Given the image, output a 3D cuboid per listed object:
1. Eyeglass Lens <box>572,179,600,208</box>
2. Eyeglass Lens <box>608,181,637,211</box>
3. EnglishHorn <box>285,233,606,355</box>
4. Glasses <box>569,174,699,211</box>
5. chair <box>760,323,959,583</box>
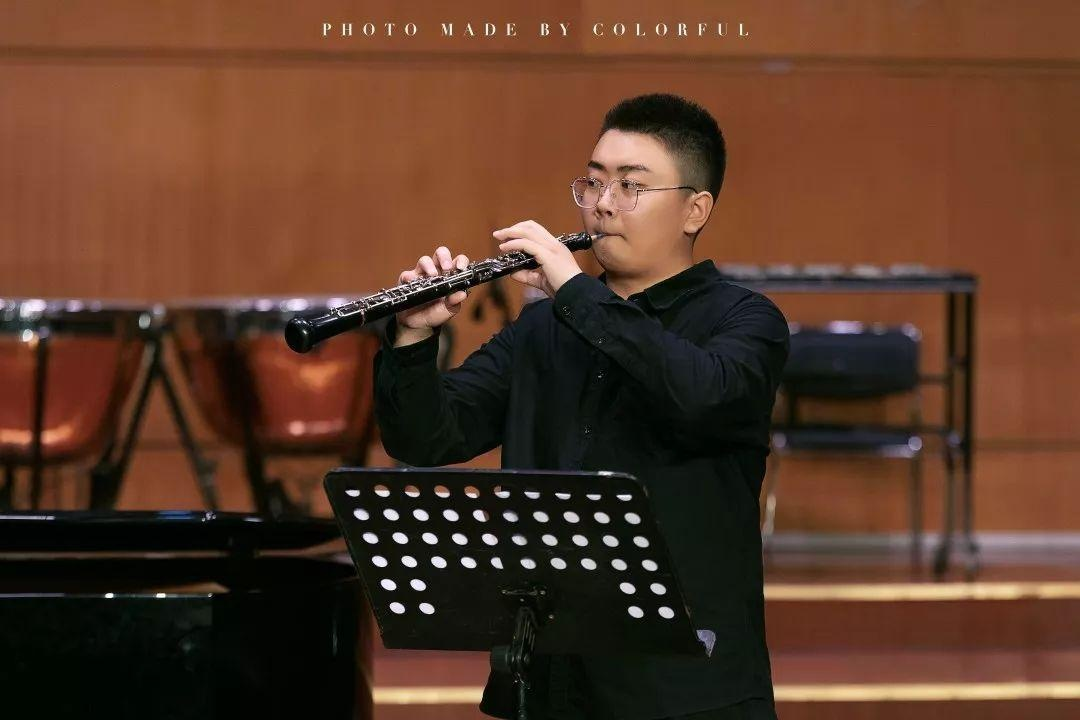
[{"bbox_3d":[0.139,-0.500,4.297,0.081,0.089,0.037,5,26,32],"label":"Eyeglass Lens"},{"bbox_3d":[0.252,-0.484,4.252,0.081,0.086,0.033,4,5,25],"label":"Eyeglass Lens"},{"bbox_3d":[-0.387,-0.253,5.103,1.145,0.170,0.193,-22,-2,-36],"label":"EnglishHorn"},{"bbox_3d":[0.255,-0.488,4.305,0.180,0.057,0.183,0,-2,44],"label":"Glasses"},{"bbox_3d":[1.311,0.412,6.202,0.674,1.138,0.781,3,1,17],"label":"chair"}]
